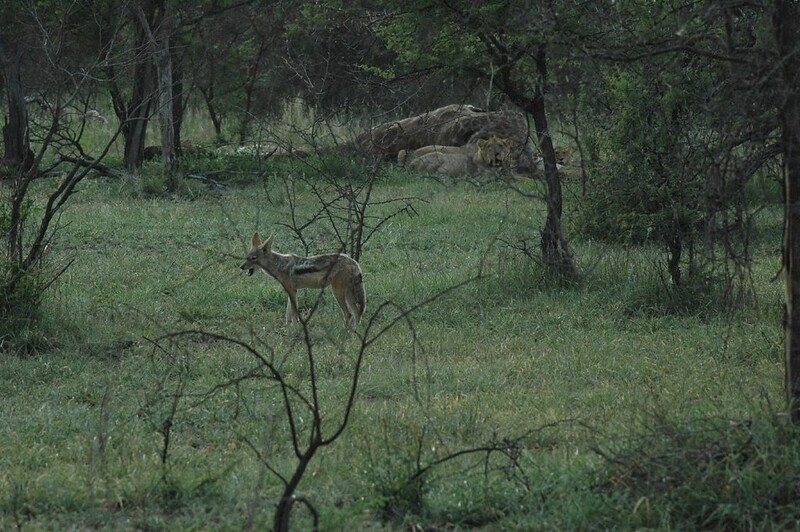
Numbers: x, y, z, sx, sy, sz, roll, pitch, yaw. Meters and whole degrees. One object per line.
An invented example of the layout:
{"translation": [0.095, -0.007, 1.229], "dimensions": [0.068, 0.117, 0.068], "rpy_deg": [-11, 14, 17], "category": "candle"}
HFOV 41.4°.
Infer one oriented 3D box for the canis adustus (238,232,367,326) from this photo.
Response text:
{"translation": [-1.594, 0.200, 18.485], "dimensions": [1.712, 1.269, 1.228], "rpy_deg": [-2, 4, 41], "category": "canis adustus"}
